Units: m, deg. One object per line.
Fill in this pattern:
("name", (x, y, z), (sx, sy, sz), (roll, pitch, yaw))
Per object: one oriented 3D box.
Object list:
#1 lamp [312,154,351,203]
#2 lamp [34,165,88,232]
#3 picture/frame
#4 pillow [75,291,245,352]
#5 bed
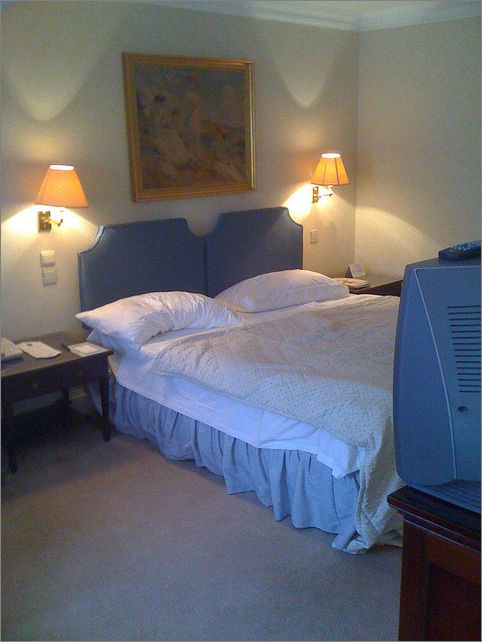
("lamp", (0.634, -1.051, 3.678), (0.257, 0.364, 0.313), (1, 12, -2))
("lamp", (-0.910, -0.577, 2.468), (0.209, 0.350, 0.226), (25, 20, 35))
("picture/frame", (-0.323, -1.130, 2.844), (0.645, 0.668, 0.051), (-15, 24, -35))
("pillow", (-0.418, -0.044, 2.622), (0.501, 0.158, 0.398), (-10, 15, -33))
("bed", (0.089, 0.182, 2.443), (1.468, 0.908, 1.532), (14, 25, 36))
